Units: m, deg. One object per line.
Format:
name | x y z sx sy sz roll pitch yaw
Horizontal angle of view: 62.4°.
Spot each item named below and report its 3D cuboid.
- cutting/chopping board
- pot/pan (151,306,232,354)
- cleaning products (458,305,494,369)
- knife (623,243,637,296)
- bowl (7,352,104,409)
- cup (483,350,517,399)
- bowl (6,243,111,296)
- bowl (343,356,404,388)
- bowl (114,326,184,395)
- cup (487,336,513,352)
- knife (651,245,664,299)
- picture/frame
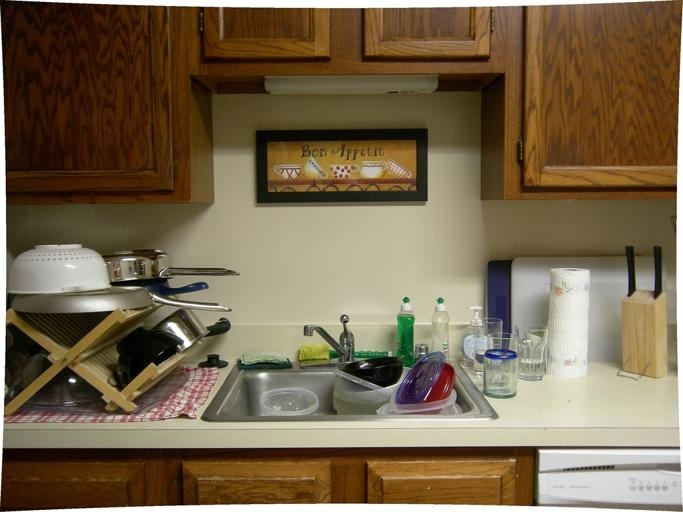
cutting/chopping board | 0.931 0.208 2.098 0.441 0.304 0.061 -1 -1 1
pot/pan | -0.511 0.245 1.957 0.163 0.091 0.270 -30 -13 32
cleaning products | 0.520 0.321 2.179 0.130 0.275 0.069 -7 22 -3
knife | 1.061 0.066 2.081 0.044 0.198 0.043 -7 16 5
bowl | -0.896 0.398 1.806 0.229 0.064 0.156 2 6 -26
cup | 0.538 0.410 1.935 0.161 0.134 0.156 3 -3 0
bowl | -0.847 0.050 1.678 0.197 0.095 0.194 1 -2 0
bowl | 0.113 0.415 2.006 0.154 0.052 0.127 -3 -4 -5
bowl | -0.631 0.334 1.869 0.268 0.090 0.199 -24 2 32
cup | 0.549 0.302 1.964 0.066 0.066 0.072 0 -4 0
knife | 1.128 0.053 2.012 0.018 0.172 0.034 1 0 -33
picture/frame | -0.009 -0.357 2.223 0.647 0.297 0.016 0 -14 4
